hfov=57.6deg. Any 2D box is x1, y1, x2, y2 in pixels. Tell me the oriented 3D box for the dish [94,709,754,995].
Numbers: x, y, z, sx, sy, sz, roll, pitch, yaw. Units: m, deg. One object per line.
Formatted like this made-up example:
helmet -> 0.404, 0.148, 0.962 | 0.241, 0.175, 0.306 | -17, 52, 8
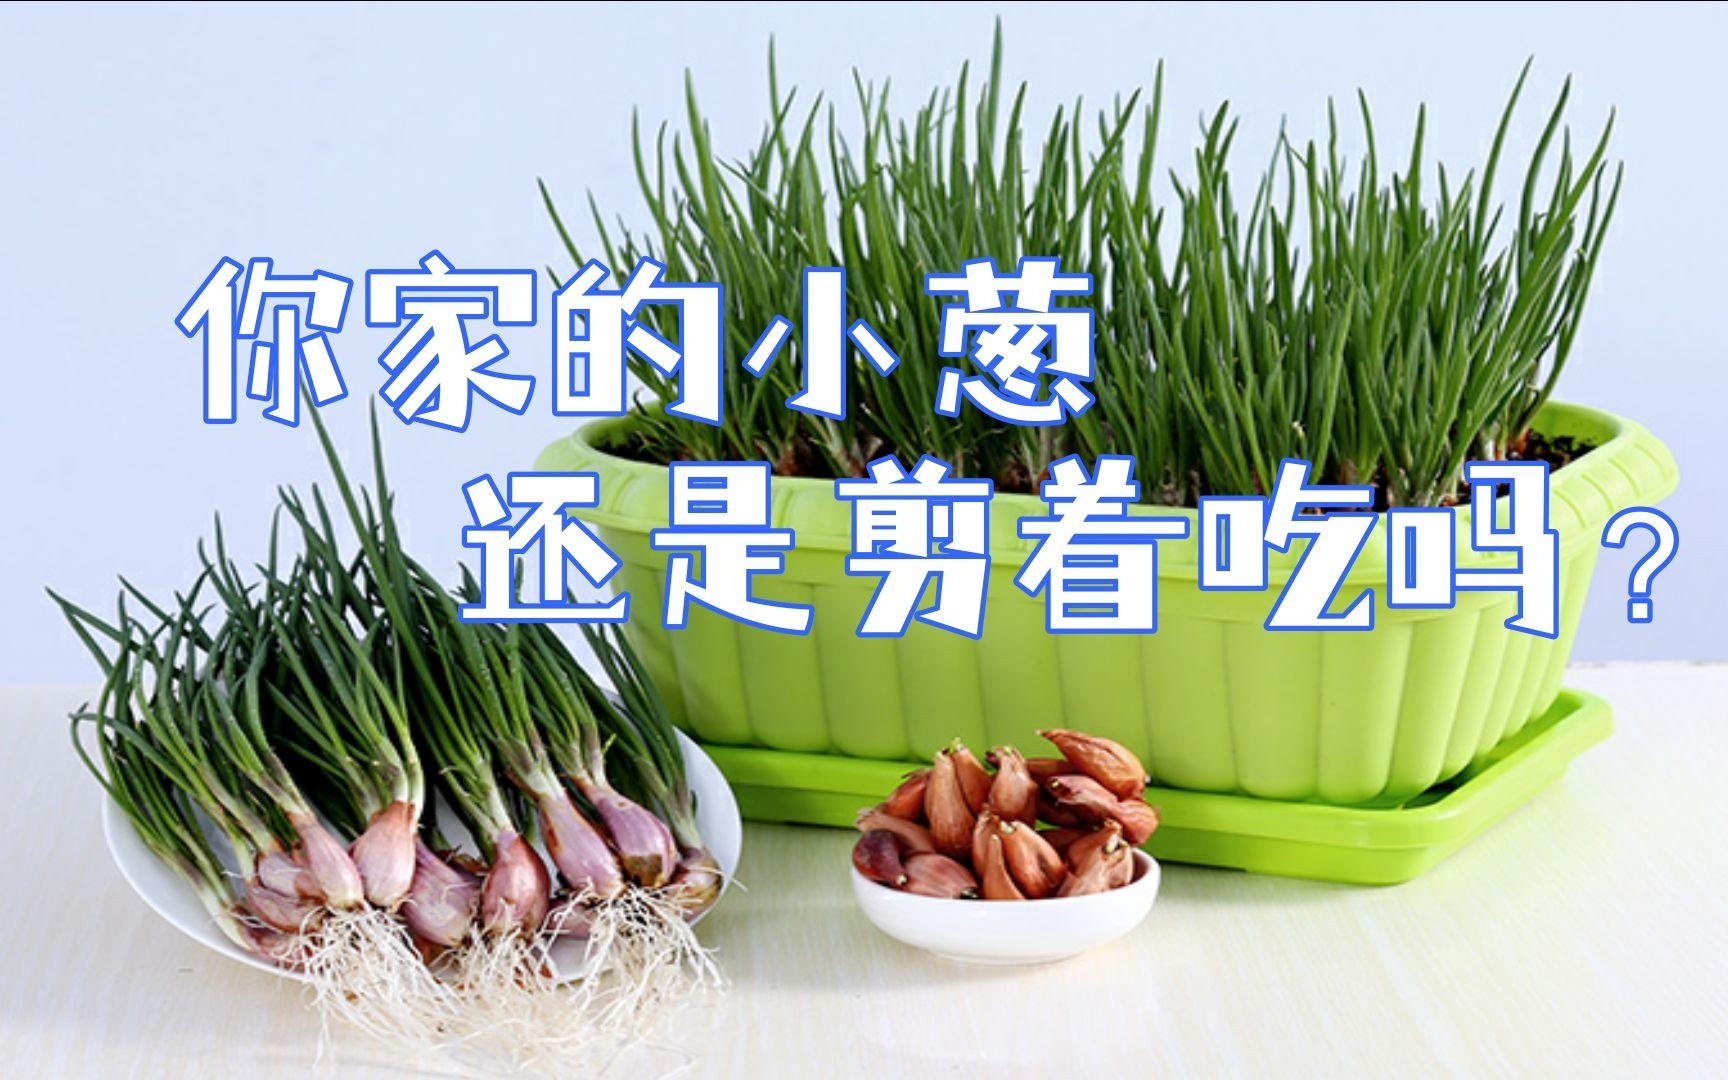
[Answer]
dish -> -0.265, 0.201, 0.934 | 0.219, 0.045, 0.207 | 21, 17, -17
